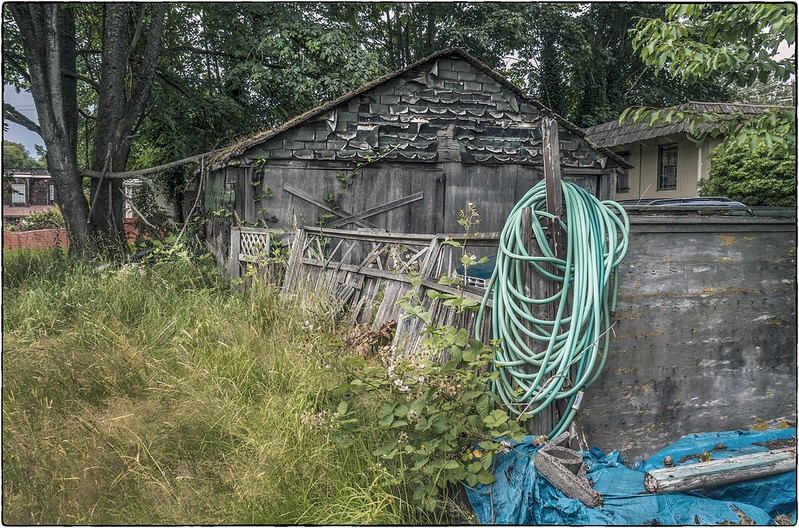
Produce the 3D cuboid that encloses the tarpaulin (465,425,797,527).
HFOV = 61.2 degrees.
[{"bbox_3d":[2.195,2.068,6.176,2.253,0.320,1.237,-5,23,2],"label":"tarpaulin"}]

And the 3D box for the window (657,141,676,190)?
[{"bbox_3d":[8.019,-2.890,20.227,0.269,1.391,0.890,-1,4,-11],"label":"window"}]
